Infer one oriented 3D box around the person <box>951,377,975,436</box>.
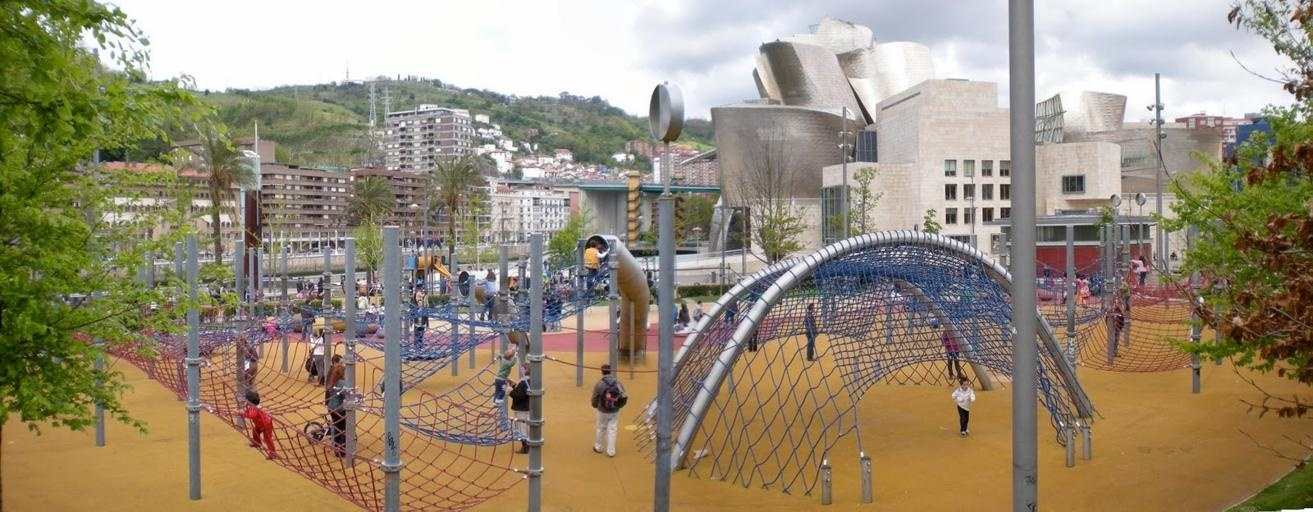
[{"bbox_3d":[15.109,7.316,50.954,0.854,2.818,1.283,-1,0,14],"label":"person"}]
